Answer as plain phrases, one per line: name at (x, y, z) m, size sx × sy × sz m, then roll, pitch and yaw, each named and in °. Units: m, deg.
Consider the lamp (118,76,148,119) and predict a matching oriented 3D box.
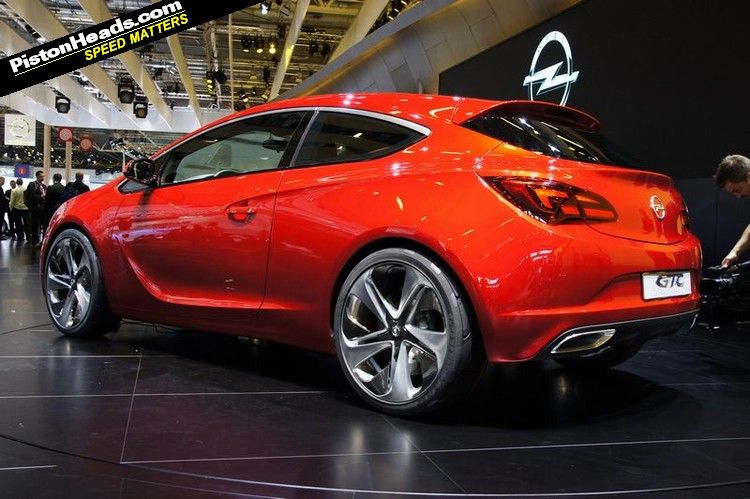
lamp at (-11.659, -7.293, 21.904) m, size 1.676 × 1.586 × 2.838 m, roll 15°, pitch 8°, yaw -34°
